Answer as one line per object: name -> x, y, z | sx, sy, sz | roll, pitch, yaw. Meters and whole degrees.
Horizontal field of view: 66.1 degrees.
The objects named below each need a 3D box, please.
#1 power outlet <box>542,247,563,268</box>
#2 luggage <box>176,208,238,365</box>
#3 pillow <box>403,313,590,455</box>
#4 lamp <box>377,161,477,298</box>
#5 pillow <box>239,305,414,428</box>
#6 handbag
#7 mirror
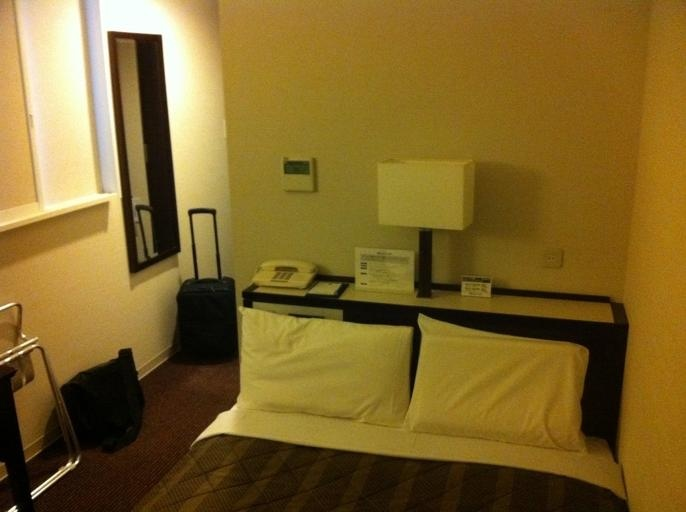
power outlet -> 1.118, -0.001, 2.773 | 0.102, 0.105, 0.024 | 7, 9, 21
luggage -> -1.135, 0.220, 4.376 | 0.466, 1.220, 0.411 | -4, 13, -10
pillow -> 0.727, 0.625, 2.491 | 0.809, 0.441, 0.249 | 3, 15, 15
lamp -> 0.465, -0.157, 2.766 | 0.572, 0.913, 0.295 | 8, 24, 22
pillow -> -0.098, 0.576, 2.767 | 0.934, 0.543, 0.200 | 4, -1, 10
handbag -> -1.574, 0.950, 3.393 | 0.316, 0.554, 0.453 | 4, 23, 26
mirror -> -1.524, -0.814, 4.047 | 0.578, 1.620, 0.059 | 5, 13, 29
